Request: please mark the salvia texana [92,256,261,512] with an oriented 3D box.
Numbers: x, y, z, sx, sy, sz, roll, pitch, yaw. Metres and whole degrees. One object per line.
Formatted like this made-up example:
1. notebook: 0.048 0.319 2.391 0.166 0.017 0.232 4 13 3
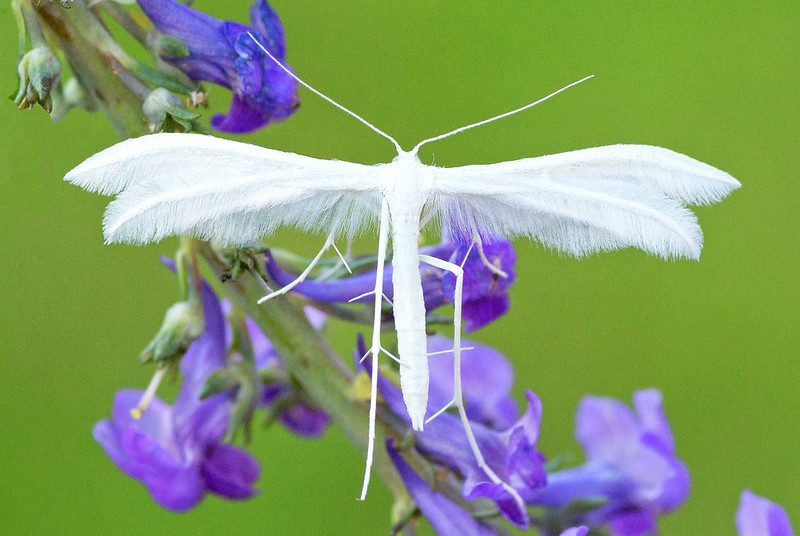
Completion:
1. salvia texana: -0.715 0.416 3.541 0.565 0.449 0.919 -2 -98 17
